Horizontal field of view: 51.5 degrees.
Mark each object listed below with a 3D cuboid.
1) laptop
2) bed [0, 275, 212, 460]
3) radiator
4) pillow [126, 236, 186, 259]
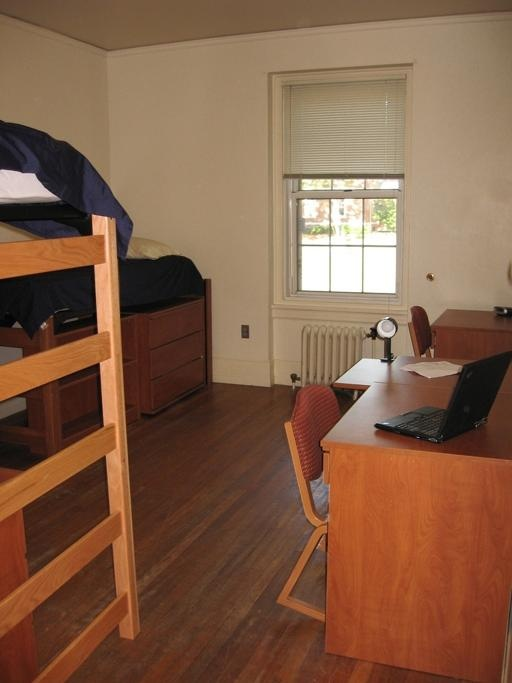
[{"bbox_3d":[0.574,0.167,1.603,0.278,0.252,0.341,8,12,43],"label":"laptop"},{"bbox_3d":[-0.856,0.165,2.988,0.346,0.603,1.108,3,12,21],"label":"bed"},{"bbox_3d":[0.632,0.126,4.543,0.531,0.579,0.085,2,31,0],"label":"radiator"},{"bbox_3d":[-0.795,-0.723,4.120,0.334,0.096,0.305,0,20,-27],"label":"pillow"}]
